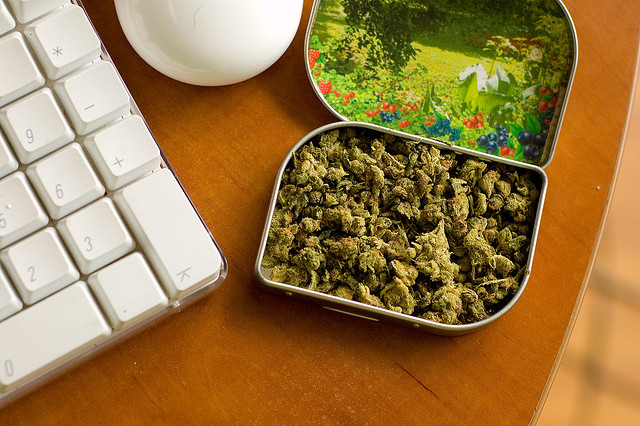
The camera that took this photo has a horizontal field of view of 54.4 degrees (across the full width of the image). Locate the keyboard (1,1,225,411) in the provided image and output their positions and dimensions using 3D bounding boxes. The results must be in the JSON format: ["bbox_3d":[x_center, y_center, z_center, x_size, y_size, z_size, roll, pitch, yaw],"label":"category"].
[{"bbox_3d":[-0.277,-0.033,0.761,0.270,0.359,0.273,-10,38,-15],"label":"keyboard"}]

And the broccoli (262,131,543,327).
[{"bbox_3d":[0.076,0.055,0.948,0.314,0.066,0.262,17,77,-7],"label":"broccoli"}]
